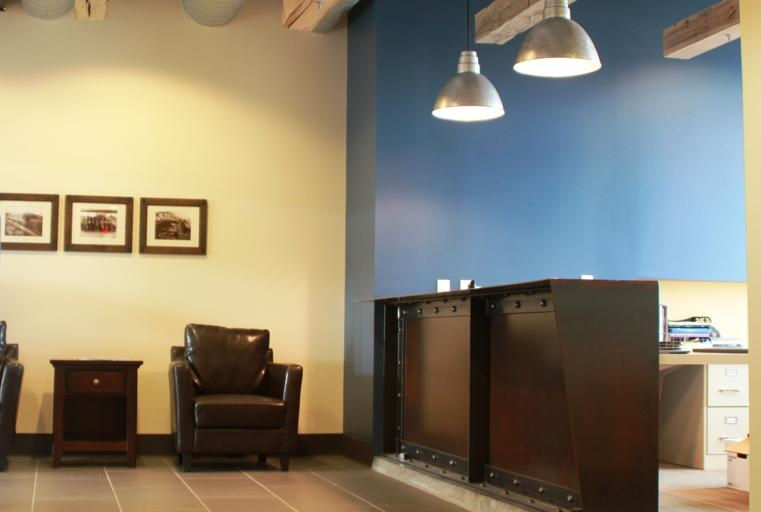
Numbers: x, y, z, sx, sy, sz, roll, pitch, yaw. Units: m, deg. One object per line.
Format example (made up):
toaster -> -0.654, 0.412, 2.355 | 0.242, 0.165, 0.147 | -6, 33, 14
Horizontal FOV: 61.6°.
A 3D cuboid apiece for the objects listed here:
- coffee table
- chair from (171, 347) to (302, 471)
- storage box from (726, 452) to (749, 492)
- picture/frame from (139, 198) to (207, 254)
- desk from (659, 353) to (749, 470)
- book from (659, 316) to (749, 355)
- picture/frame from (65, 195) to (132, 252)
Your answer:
coffee table -> -2.744, 1.457, 6.089 | 0.759, 0.966, 0.870 | 3, -6, -21
chair -> -1.401, 1.465, 6.167 | 1.064, 1.016, 1.085 | 3, -15, -11
storage box -> 2.970, 1.793, 5.326 | 0.063, 0.291, 0.165 | 3, -6, -22
picture/frame -> -2.221, -0.296, 6.626 | 0.542, 0.539, 0.044 | 1, -2, -11
desk -> 3.089, 1.525, 6.125 | 0.772, 0.965, 0.351 | -2, -6, 28
book -> 2.879, 0.710, 5.738 | 0.807, 0.265, 0.613 | 0, -5, 6
picture/frame -> -2.941, -0.313, 6.492 | 0.538, 0.552, 0.042 | 1, -1, -13
